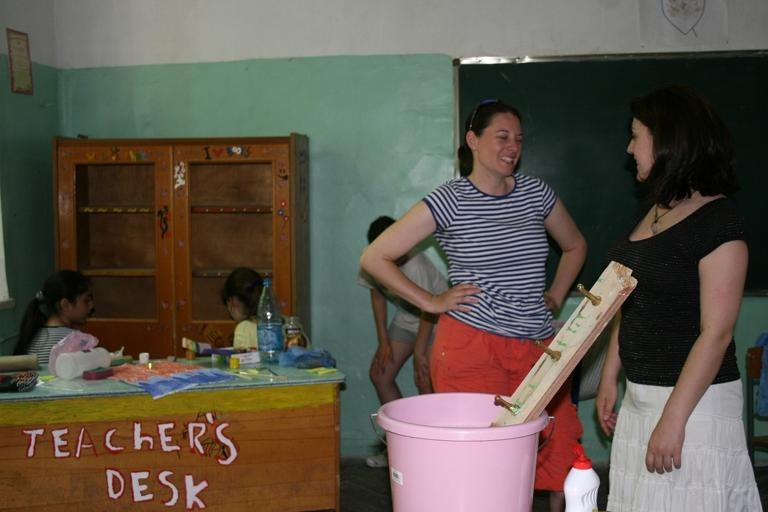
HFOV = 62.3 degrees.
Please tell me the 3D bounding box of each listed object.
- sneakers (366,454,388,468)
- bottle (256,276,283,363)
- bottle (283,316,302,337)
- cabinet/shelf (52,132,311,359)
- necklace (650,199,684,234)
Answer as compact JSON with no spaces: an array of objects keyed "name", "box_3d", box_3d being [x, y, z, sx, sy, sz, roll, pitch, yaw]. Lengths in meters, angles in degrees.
[{"name":"sneakers","box_3d":[-0.043,1.394,4.324,0.127,0.078,0.071,12,-6,-4]},{"name":"bottle","box_3d":[-0.636,0.362,3.578,0.153,0.439,0.302,0,2,-9]},{"name":"bottle","box_3d":[-0.537,0.415,3.723,0.088,0.085,0.089,1,-4,-12]},{"name":"cabinet/shelf","box_3d":[-1.439,0.070,4.475,1.604,1.565,0.680,-2,-1,-7]},{"name":"necklace","box_3d":[1.077,-0.146,2.429,0.101,0.102,0.027,-8,-36,6]}]
